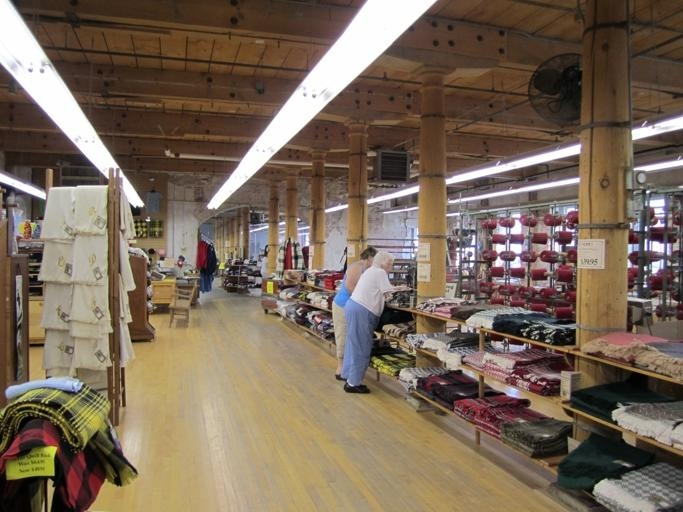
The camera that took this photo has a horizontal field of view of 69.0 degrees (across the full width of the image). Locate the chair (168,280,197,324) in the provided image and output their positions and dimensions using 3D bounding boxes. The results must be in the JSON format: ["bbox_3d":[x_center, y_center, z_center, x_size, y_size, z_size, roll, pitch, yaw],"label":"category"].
[{"bbox_3d":[-3.843,1.100,11.919,0.515,1.063,0.706,5,12,-9],"label":"chair"}]

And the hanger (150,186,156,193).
[{"bbox_3d":[-7.014,-2.473,18.410,0.304,0.263,0.068,-2,-6,-16],"label":"hanger"}]

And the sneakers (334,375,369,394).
[{"bbox_3d":[0.122,1.638,6.307,0.430,0.166,0.154,-1,0,-10],"label":"sneakers"}]

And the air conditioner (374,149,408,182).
[{"bbox_3d":[1.081,-1.928,10.947,0.784,0.675,0.631,1,0,-4],"label":"air conditioner"}]
